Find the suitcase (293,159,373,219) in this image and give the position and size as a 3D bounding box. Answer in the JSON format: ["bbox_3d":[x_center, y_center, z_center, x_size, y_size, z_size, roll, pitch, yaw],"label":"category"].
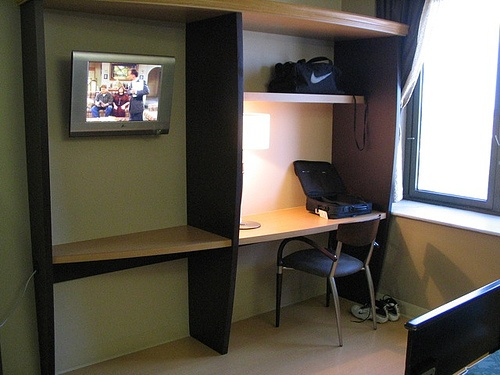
[{"bbox_3d":[0.715,0.024,3.626,0.484,0.398,0.630,-8,15,-33],"label":"suitcase"}]

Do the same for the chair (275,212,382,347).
[{"bbox_3d":[0.807,0.657,3.798,0.956,1.424,0.892,6,7,41],"label":"chair"}]

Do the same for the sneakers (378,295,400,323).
[{"bbox_3d":[1.200,1.067,3.556,0.128,0.114,0.249,-6,16,-15],"label":"sneakers"}]

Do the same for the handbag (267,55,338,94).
[{"bbox_3d":[0.476,-0.906,3.408,0.523,0.247,0.316,-7,13,-40],"label":"handbag"}]

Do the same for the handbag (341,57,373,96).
[{"bbox_3d":[0.994,-1.010,3.712,0.079,0.328,0.341,-9,19,-43],"label":"handbag"}]

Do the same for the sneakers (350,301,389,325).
[{"bbox_3d":[1.038,1.093,3.579,0.127,0.156,0.351,-9,11,-43],"label":"sneakers"}]
